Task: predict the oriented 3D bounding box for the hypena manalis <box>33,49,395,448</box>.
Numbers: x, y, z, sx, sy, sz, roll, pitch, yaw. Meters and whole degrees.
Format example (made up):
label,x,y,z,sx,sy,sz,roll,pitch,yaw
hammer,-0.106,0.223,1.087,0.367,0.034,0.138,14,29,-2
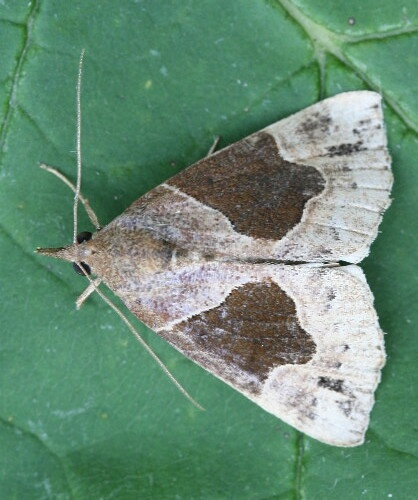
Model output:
label,x,y,z,sx,sy,sz,roll,pitch,yaw
hypena manalis,0.184,0.061,2.777,1.276,0.268,1.556,2,83,1
